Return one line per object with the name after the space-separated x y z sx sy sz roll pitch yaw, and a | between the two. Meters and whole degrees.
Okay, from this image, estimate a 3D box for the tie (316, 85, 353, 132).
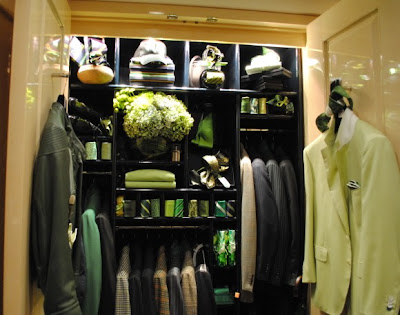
0.836 -0.302 2.208 0.173 0.117 0.257 27 -22 42 | tie

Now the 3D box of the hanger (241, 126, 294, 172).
0.598 -0.119 3.104 0.408 0.215 0.310 -2 6 5 | hanger

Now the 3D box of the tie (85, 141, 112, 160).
-0.775 -0.052 2.749 0.189 0.142 0.062 2 -2 -22 | tie

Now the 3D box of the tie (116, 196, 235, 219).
-0.180 0.387 2.793 0.930 0.158 0.069 1 -2 -7 | tie
